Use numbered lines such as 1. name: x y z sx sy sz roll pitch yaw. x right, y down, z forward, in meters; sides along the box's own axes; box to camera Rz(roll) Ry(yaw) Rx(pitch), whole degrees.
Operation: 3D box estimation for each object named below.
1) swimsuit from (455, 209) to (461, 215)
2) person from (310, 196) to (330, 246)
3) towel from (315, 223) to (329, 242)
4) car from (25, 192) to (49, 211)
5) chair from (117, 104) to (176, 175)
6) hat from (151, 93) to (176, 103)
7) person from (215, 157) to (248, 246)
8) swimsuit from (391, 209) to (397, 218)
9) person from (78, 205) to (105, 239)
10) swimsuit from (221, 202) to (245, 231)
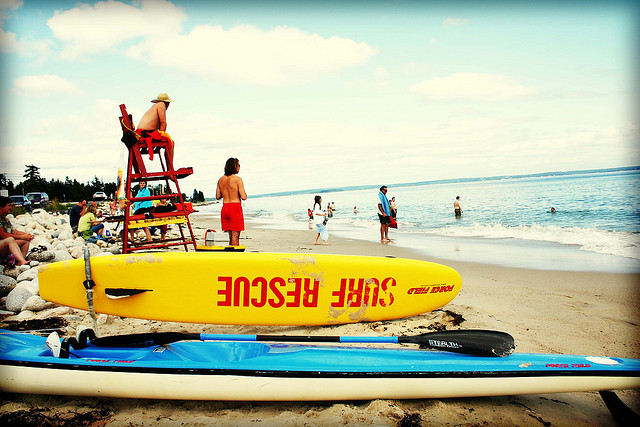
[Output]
1. swimsuit: 5.702 -0.148 21.730 0.185 0.238 0.407 -1 6 8
2. person: -0.029 0.130 12.418 0.531 1.157 0.485 0 1 34
3. towel: 0.032 0.406 12.453 0.283 0.376 0.112 -10 2 4
4. car: -13.015 -0.605 23.553 1.017 0.743 2.014 0 -1 -19
5. chair: -2.898 -1.248 8.598 0.379 1.103 0.692 2 8 35
6. hat: -2.658 -1.974 8.627 0.256 0.143 0.537 -4 6 -15
7. person: -1.474 -0.226 8.609 0.430 1.425 0.468 -4 7 -12
8. swimsuit: 1.891 -0.074 13.585 0.162 0.173 0.050 -2 -4 -11
9. person: -5.079 0.168 11.412 0.572 0.679 0.588 24 29 37
10. swimsuit: -1.458 0.009 8.654 0.552 0.453 0.323 2 1 37
